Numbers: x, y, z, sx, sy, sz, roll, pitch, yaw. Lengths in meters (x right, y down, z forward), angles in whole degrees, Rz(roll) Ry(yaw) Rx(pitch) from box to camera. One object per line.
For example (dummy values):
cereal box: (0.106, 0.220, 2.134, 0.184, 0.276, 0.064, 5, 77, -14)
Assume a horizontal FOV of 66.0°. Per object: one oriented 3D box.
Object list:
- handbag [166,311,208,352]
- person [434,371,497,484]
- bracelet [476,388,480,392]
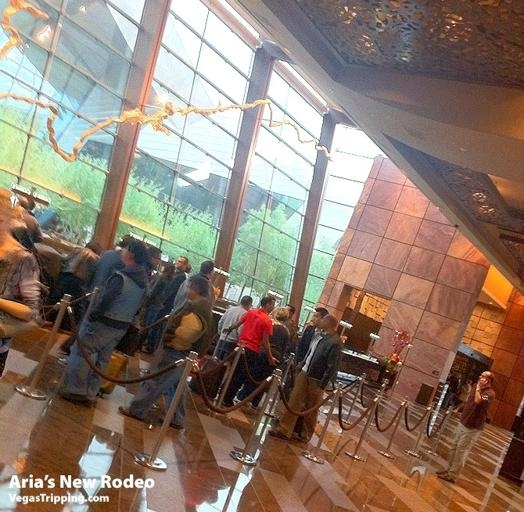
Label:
handbag: (-0.757, 0.773, 4.112, 0.225, 0.387, 0.305, 42, -10, 24)
person: (3.307, 2.765, 6.494, 0.739, 1.855, 0.600, 2, -7, 27)
bracelet: (3.505, 2.161, 6.509, 0.050, 0.047, 0.046, 7, -1, 3)
